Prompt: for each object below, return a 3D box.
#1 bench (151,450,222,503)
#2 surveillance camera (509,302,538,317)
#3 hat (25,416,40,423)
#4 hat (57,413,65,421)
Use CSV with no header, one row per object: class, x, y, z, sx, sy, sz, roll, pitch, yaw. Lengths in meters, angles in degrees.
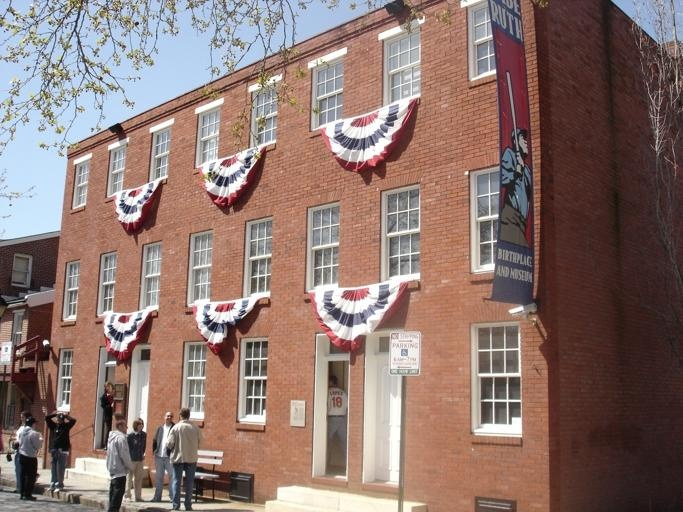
bench,-4.263,6.197,20.055,1.817,1.293,0.669,-10,-17,40
surveillance camera,3.927,1.169,15.131,0.371,0.268,0.370,6,-9,-33
hat,-8.741,4.605,19.854,0.327,0.165,0.397,3,-14,-8
hat,-8.159,4.658,20.502,0.169,0.257,0.214,8,-17,-18
